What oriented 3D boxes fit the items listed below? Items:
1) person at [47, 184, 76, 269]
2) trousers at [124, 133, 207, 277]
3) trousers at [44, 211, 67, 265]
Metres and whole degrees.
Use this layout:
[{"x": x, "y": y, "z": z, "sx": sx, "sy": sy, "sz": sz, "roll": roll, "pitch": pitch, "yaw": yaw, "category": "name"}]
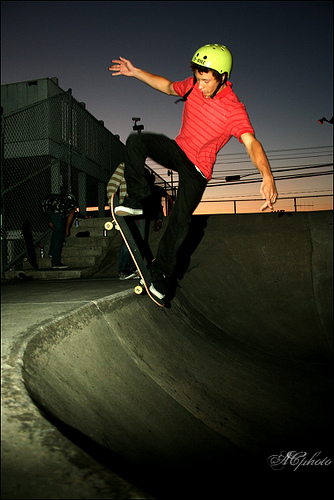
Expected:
[{"x": -1.675, "y": -0.372, "z": 6.733, "sx": 0.440, "sy": 1.071, "sz": 1.376, "roll": 1, "pitch": 12, "yaw": -15, "category": "person"}, {"x": -0.080, "y": -0.363, "z": 3.273, "sx": 0.682, "sy": 1.099, "sz": 0.514, "roll": 3, "pitch": 24, "yaw": -18, "category": "trousers"}, {"x": -1.687, "y": -0.169, "z": 6.400, "sx": 0.322, "sy": 1.019, "sz": 0.357, "roll": -9, "pitch": 31, "yaw": -23, "category": "trousers"}]
